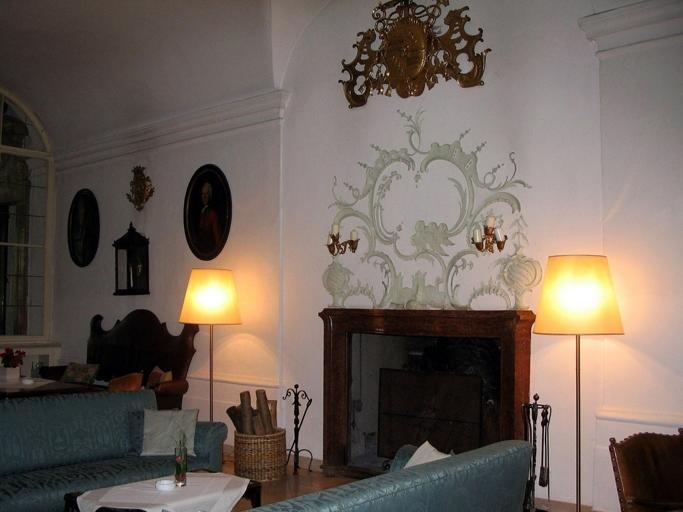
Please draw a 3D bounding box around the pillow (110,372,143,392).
[{"bbox_3d":[-2.505,1.464,6.505,0.332,0.189,0.584,5,-11,-25],"label":"pillow"}]

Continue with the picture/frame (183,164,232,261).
[{"bbox_3d":[-1.719,-0.545,7.290,0.086,1.479,1.040,2,1,-43],"label":"picture/frame"}]

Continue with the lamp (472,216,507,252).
[{"bbox_3d":[1.370,-0.200,5.236,0.327,0.346,0.236,-2,-8,15],"label":"lamp"}]

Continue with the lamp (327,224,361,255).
[{"bbox_3d":[-0.004,-0.248,6.035,0.347,0.410,0.297,8,-20,-27],"label":"lamp"}]

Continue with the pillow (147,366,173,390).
[{"bbox_3d":[-2.241,1.500,6.909,0.282,0.244,0.719,3,-10,-18],"label":"pillow"}]

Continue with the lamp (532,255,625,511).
[{"bbox_3d":[1.852,0.981,4.347,0.606,2.058,0.677,-4,-8,32],"label":"lamp"}]
